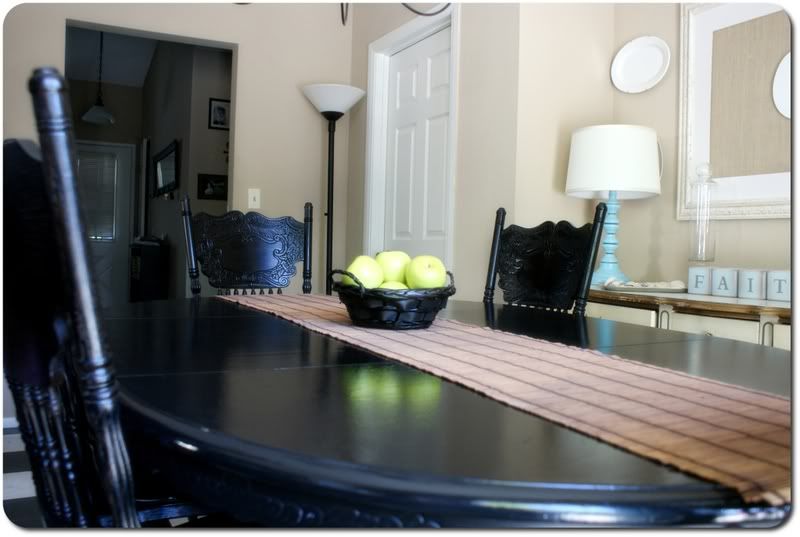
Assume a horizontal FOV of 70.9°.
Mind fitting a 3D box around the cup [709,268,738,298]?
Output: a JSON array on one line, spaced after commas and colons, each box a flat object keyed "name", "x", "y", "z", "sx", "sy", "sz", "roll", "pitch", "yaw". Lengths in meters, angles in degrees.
[{"name": "cup", "x": 1.312, "y": 0.053, "z": 2.283, "sx": 0.104, "sy": 0.111, "sz": 0.109, "roll": 1, "pitch": 6, "yaw": 0}]

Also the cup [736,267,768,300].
[{"name": "cup", "x": 1.370, "y": 0.064, "z": 2.194, "sx": 0.058, "sy": 0.105, "sz": 0.103, "roll": 5, "pitch": -6, "yaw": -29}]

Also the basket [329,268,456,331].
[{"name": "basket", "x": -0.019, "y": 0.077, "z": 1.173, "sx": 0.165, "sy": 0.078, "sz": 0.164, "roll": 3, "pitch": -5, "yaw": -32}]

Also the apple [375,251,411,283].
[{"name": "apple", "x": -0.031, "y": -0.005, "z": 1.294, "sx": 0.070, "sy": 0.088, "sz": 0.071, "roll": 6, "pitch": 14, "yaw": 37}]

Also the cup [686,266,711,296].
[{"name": "cup", "x": 1.272, "y": 0.055, "z": 2.396, "sx": 0.067, "sy": 0.119, "sz": 0.119, "roll": 2, "pitch": -2, "yaw": -27}]

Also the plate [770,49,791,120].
[{"name": "plate", "x": 1.589, "y": -0.758, "z": 2.347, "sx": 0.022, "sy": 0.268, "sz": 0.082, "roll": -1, "pitch": 8, "yaw": -18}]

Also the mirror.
[{"name": "mirror", "x": 1.479, "y": -0.729, "z": 2.525, "sx": 0.161, "sy": 1.039, "sz": 0.605, "roll": -1, "pitch": 8, "yaw": -17}]

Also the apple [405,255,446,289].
[{"name": "apple", "x": 0.054, "y": 0.008, "z": 1.203, "sx": 0.072, "sy": 0.076, "sz": 0.071, "roll": -6, "pitch": 30, "yaw": -10}]

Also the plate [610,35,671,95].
[{"name": "plate", "x": 1.237, "y": -1.048, "z": 2.898, "sx": 0.036, "sy": 0.268, "sz": 0.261, "roll": 1, "pitch": 45, "yaw": -45}]

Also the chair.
[{"name": "chair", "x": -0.350, "y": 0.035, "z": 0.991, "sx": 0.488, "sy": 0.771, "sz": 0.437, "roll": -2, "pitch": 2, "yaw": -30}]

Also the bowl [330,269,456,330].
[{"name": "bowl", "x": -0.022, "y": 0.042, "z": 1.163, "sx": 0.165, "sy": 0.078, "sz": 0.164, "roll": 0, "pitch": -4, "yaw": 0}]
